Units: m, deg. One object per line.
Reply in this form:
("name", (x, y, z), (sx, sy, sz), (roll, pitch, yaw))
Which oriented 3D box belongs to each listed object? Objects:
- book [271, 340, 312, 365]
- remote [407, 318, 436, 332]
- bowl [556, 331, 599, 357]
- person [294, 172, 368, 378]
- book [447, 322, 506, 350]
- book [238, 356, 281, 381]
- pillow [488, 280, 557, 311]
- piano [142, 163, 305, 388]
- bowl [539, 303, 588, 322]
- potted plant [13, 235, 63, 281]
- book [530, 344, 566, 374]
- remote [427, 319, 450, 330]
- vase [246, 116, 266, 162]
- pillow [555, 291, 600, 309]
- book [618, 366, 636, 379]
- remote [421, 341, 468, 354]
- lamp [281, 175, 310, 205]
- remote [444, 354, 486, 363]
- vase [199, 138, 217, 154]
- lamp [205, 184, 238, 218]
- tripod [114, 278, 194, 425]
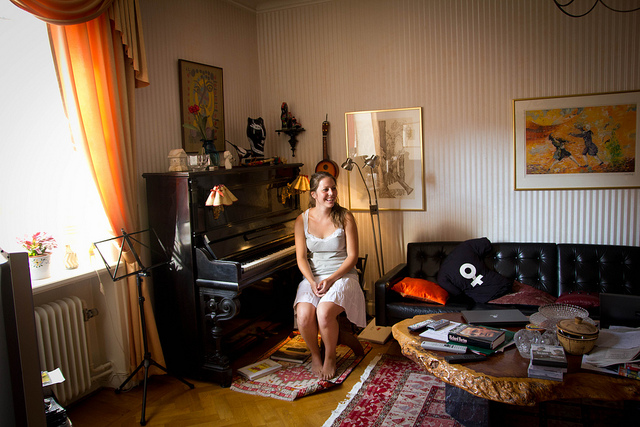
("book", (-0.269, 1.332, 4.184), (0.253, 0.030, 0.243), (3, 5, 21))
("remote", (0.749, 0.828, 3.272), (0.154, 0.027, 0.083), (-12, 11, -41))
("bowl", (1.652, 0.813, 2.852), (0.163, 0.112, 0.165), (-1, -1, 0))
("person", (0.073, 0.513, 3.988), (0.618, 1.733, 0.671), (-5, 8, 0))
("book", (1.055, 0.835, 2.988), (0.185, 0.047, 0.192), (5, 10, 36))
("book", (-0.572, 1.406, 4.010), (0.341, 0.051, 0.295), (-10, 9, -30))
("pillow", (1.822, 0.763, 3.956), (0.363, 0.112, 0.274), (-2, 2, -9))
("piano", (-0.742, 0.515, 4.603), (0.983, 1.846, 1.852), (3, 7, 21))
("bowl", (1.670, 0.703, 3.035), (0.289, 0.081, 0.280), (-5, 8, 1))
("potted plant", (-2.155, 0.342, 3.401), (0.313, 0.321, 0.273), (9, 16, 36))
("book", (1.431, 0.918, 2.773), (0.197, 0.107, 0.239), (-2, 9, 26))
("remote", (0.874, 0.813, 3.230), (0.202, 0.023, 0.080), (-11, 10, -35))
("vase", (-0.714, -0.832, 4.878), (0.202, 0.503, 0.711), (-6, 8, -9))
("pillow", (2.252, 0.751, 3.866), (0.335, 0.089, 0.325), (-1, 9, 29))
("book", (1.845, 0.963, 2.646), (0.084, 0.053, 0.037), (0, 9, 33))
("remote", (0.841, 0.909, 2.972), (0.175, 0.026, 0.100), (1, 2, 19))
("lamp", (-0.223, -0.265, 4.655), (0.298, 0.308, 0.258), (1, 5, 11))
("remote", (0.945, 0.948, 2.866), (0.254, 0.028, 0.088), (-3, 16, 8))
("vase", (-1.048, -0.639, 4.163), (0.105, 0.150, 0.170), (-7, 8, -15))
("lamp", (-0.838, -0.109, 3.850), (0.253, 0.276, 0.253), (-1, 9, 23))
("tripod", (-1.414, 1.041, 3.666), (0.526, 1.065, 0.579), (-13, 11, -43))
